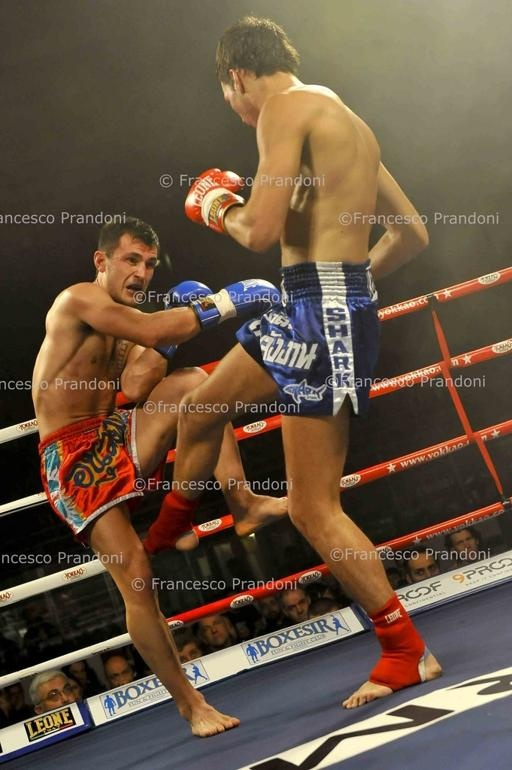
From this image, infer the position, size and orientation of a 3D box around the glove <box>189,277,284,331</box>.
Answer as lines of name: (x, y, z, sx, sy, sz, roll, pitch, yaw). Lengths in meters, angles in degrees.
glove: (-0.049, -0.235, 1.954, 0.263, 0.098, 0.130, -15, 35, -14)

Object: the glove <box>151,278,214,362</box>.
glove: (-0.190, -0.187, 2.049, 0.231, 0.081, 0.229, -41, 22, -12)

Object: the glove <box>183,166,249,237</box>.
glove: (-0.114, -0.488, 1.717, 0.162, 0.087, 0.195, -30, 34, 0)
